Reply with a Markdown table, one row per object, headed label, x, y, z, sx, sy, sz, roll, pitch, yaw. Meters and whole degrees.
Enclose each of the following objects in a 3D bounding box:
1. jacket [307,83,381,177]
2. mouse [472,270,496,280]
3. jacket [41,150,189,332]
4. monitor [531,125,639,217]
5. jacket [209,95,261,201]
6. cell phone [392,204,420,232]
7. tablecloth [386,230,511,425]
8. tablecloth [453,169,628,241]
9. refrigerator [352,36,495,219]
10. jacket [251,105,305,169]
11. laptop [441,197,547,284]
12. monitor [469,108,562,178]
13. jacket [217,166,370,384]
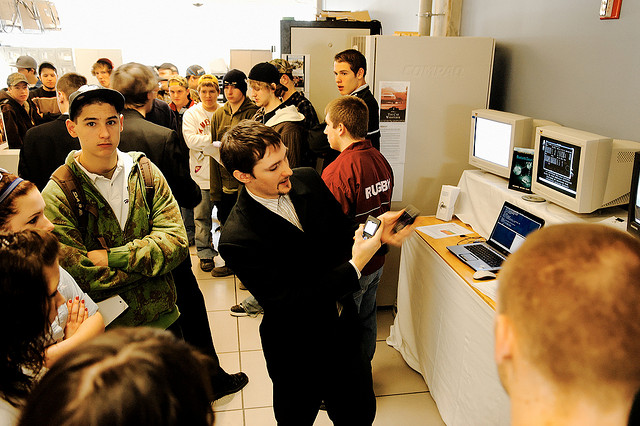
| label | x | y | z | sx | sy | sz | roll | pitch | yaw |
| --- | --- | --- | --- | --- | --- | --- | --- | --- | --- |
| jacket | 0.195 | -0.645 | 3.588 | 0.588 | 1.062 | 0.696 | 1 | 30 | 5 |
| mouse | 0.987 | 0.369 | 2.570 | 0.151 | 0.046 | 0.071 | -6 | 22 | -10 |
| jacket | -0.955 | 0.152 | 2.186 | 0.623 | 0.874 | 0.488 | -9 | 20 | -11 |
| monitor | 1.488 | -0.291 | 2.630 | 0.591 | 0.568 | 0.511 | -13 | 20 | -19 |
| jacket | -0.912 | -0.681 | 4.346 | 0.683 | 0.925 | 0.388 | -6 | 31 | -17 |
| cell phone | 0.514 | 0.034 | 2.543 | 0.171 | 0.093 | 0.095 | -48 | 21 | 4 |
| tablecloth | 0.795 | 0.717 | 2.635 | 0.483 | 0.685 | 1.103 | -3 | 21 | -8 |
| tablecloth | 1.314 | -0.079 | 2.948 | 0.548 | 0.231 | 0.943 | -1 | 19 | -8 |
| refrigerator | 0.913 | -0.908 | 4.044 | 1.082 | 1.540 | 0.911 | -4 | 28 | 8 |
| jacket | -0.315 | -0.665 | 3.734 | 0.300 | 0.504 | 0.309 | 5 | 22 | 17 |
| laptop | 1.102 | 0.148 | 2.744 | 0.548 | 0.293 | 0.553 | -12 | 18 | -26 |
| monitor | 1.494 | -0.619 | 3.225 | 0.558 | 0.427 | 0.555 | -12 | 22 | -22 |
| jacket | -0.106 | 0.313 | 2.221 | 0.662 | 0.972 | 0.567 | 0 | 21 | 5 |
